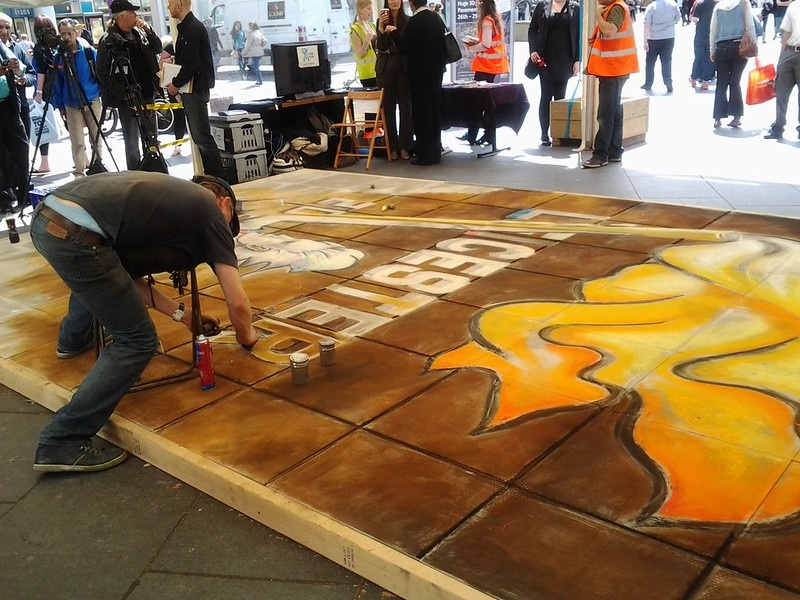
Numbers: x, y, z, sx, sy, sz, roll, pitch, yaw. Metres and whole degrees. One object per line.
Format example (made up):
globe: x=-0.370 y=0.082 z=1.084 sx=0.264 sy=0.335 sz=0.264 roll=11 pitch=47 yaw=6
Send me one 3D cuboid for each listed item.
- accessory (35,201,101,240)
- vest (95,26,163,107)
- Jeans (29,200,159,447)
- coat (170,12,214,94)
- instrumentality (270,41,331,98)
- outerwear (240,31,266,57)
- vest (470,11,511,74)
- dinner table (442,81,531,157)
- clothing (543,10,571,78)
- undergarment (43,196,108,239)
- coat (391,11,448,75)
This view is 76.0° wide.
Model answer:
accessory: x=-1.624 y=-0.397 z=2.535 sx=0.232 sy=0.077 sz=0.213 roll=28 pitch=12 yaw=-19
vest: x=-4.195 y=-3.698 z=7.904 sx=0.741 sy=1.200 sz=0.903 roll=5 pitch=23 yaw=19
Jeans: x=-1.658 y=0.166 z=2.699 sx=0.649 sy=1.248 sz=0.357 roll=-12 pitch=25 yaw=-21
coat: x=-3.235 y=-3.886 z=7.856 sx=0.440 sy=1.157 sz=0.636 roll=1 pitch=23 yaw=10
instrumentality: x=-1.859 y=-4.541 z=9.736 sx=0.478 sy=0.832 sz=1.246 roll=19 pitch=38 yaw=28
outerwear: x=-3.039 y=-5.483 z=10.624 sx=0.503 sy=0.411 sz=0.277 roll=-16 pitch=57 yaw=-27
vest: x=1.896 y=-5.207 z=10.115 sx=0.816 sy=1.013 sz=0.821 roll=14 pitch=50 yaw=29
dinner table: x=1.254 y=-3.642 z=10.081 sx=1.982 sy=1.061 sz=1.323 roll=7 pitch=26 yaw=32
clothing: x=2.904 y=-4.854 z=9.562 sx=0.499 sy=1.207 sz=0.418 roll=-11 pitch=24 yaw=-17
undergarment: x=-1.621 y=-0.436 z=2.565 sx=0.210 sy=0.067 sz=0.257 roll=26 pitch=8 yaw=-11
coat: x=0.322 y=-4.492 z=8.695 sx=1.058 sy=0.970 sz=0.757 roll=-18 pitch=44 yaw=-14
